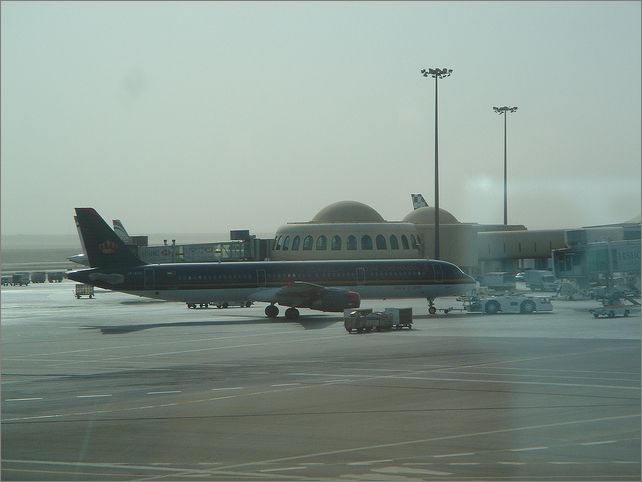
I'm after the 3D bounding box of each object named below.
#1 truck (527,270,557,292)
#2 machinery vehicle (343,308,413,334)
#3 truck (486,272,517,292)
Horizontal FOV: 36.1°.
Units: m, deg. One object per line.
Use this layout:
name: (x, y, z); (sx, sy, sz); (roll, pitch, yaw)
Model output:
truck: (23.990, 4.395, 107.383); (2.904, 2.248, 6.536); (-2, -3, 10)
machinery vehicle: (3.719, 5.138, 63.789); (4.792, 1.464, 1.206); (1, -4, -31)
truck: (18.858, 4.258, 103.633); (3.362, 1.582, 1.695); (0, 4, 27)
